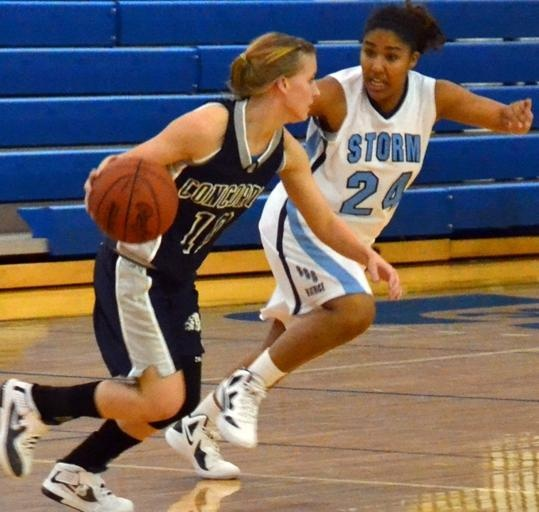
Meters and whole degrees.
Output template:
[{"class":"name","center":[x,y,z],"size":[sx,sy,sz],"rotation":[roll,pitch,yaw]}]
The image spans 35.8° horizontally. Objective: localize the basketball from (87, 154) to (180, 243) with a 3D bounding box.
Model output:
[{"class":"basketball","center":[-0.294,-0.117,1.926],"size":[0.203,0.179,0.199],"rotation":[5,-3,-2]}]

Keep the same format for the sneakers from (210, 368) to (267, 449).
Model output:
[{"class":"sneakers","center":[-0.082,0.404,2.321],"size":[0.120,0.087,0.255],"rotation":[-38,34,1]}]
